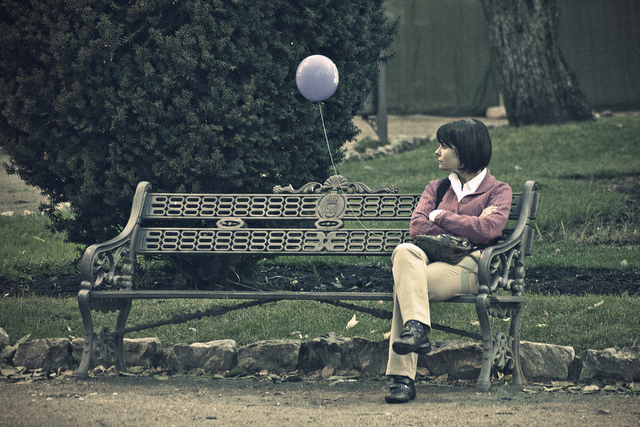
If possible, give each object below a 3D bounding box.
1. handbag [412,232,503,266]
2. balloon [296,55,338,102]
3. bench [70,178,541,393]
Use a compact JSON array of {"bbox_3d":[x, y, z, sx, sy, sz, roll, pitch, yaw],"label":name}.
[{"bbox_3d":[1.414,0.324,15.370,0.733,0.280,0.427,-3,17,-38],"label":"handbag"},{"bbox_3d":[-0.042,-1.591,16.539,0.539,0.654,0.539,8,3,12],"label":"balloon"},{"bbox_3d":[0.325,0.719,16.678,6.349,3.102,2.345,2,1,12],"label":"bench"}]
